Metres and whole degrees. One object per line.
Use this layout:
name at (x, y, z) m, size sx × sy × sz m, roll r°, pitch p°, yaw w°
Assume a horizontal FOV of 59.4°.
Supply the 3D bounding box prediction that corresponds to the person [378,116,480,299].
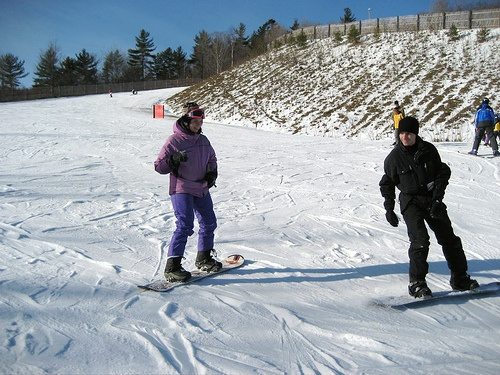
person at (2.001, 0.230, 5.023) m, size 1.046 × 2.023 × 0.765 m, roll 3°, pitch 16°, yaw 23°

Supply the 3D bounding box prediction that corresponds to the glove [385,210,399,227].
glove at (1.634, 0.365, 5.080) m, size 0.126 × 0.214 × 0.313 m, roll 1°, pitch 14°, yaw 16°

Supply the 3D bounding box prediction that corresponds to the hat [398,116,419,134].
hat at (1.815, -0.689, 4.988) m, size 0.235 × 0.155 × 0.203 m, roll 10°, pitch 19°, yaw 42°

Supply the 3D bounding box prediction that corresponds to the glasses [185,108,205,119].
glasses at (-0.647, -0.865, 5.218) m, size 0.186 × 0.079 × 0.140 m, roll -2°, pitch 1°, yaw 41°

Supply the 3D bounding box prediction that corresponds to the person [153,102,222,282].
person at (-0.747, 0.086, 5.260) m, size 0.553 × 1.991 × 0.992 m, roll 5°, pitch 17°, yaw 29°

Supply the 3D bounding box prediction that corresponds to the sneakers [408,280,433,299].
sneakers at (1.905, 1.152, 4.935) m, size 0.243 × 0.193 × 0.164 m, roll 2°, pitch 15°, yaw 19°
